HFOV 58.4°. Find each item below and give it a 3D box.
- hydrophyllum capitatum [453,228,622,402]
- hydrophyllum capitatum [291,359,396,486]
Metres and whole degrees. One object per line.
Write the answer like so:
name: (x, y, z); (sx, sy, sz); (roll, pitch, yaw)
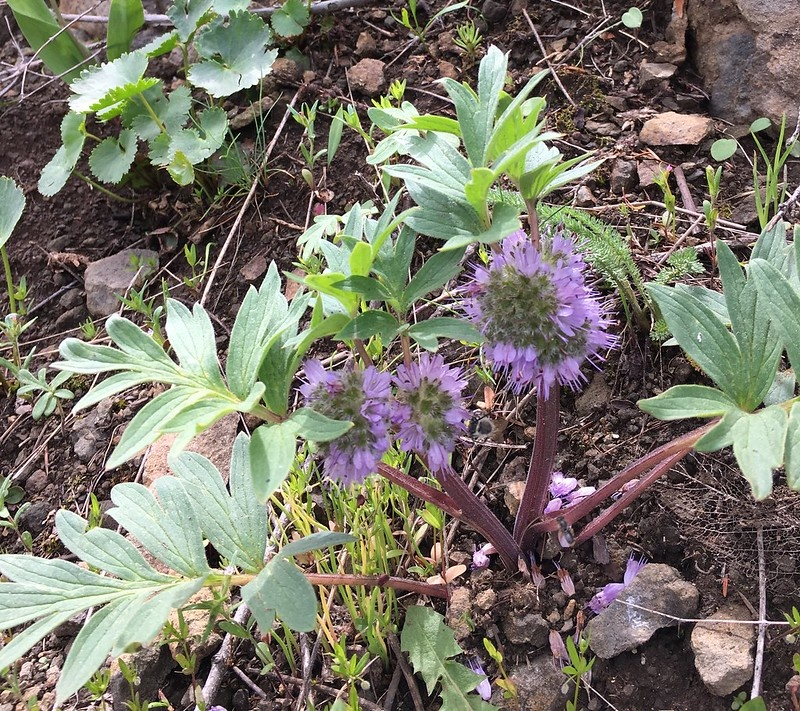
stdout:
hydrophyllum capitatum: (0.427, -0.150, 2.170); (0.497, 0.562, 0.465); (-7, 96, 23)
hydrophyllum capitatum: (-0.110, 0.155, 2.142); (0.314, 0.194, 0.328); (-43, 69, 25)
